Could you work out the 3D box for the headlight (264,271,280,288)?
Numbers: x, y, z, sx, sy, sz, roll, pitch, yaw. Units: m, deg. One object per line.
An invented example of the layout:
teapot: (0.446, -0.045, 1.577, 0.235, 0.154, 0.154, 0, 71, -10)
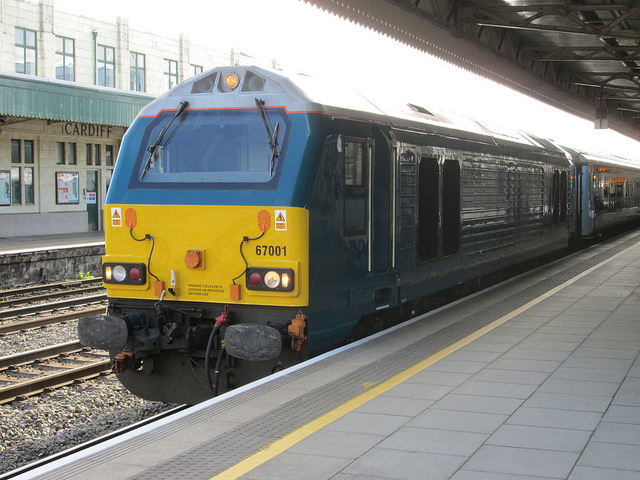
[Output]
headlight: (-0.516, 0.423, 5.539, 0.148, 0.161, 0.036, -9, -6, 19)
